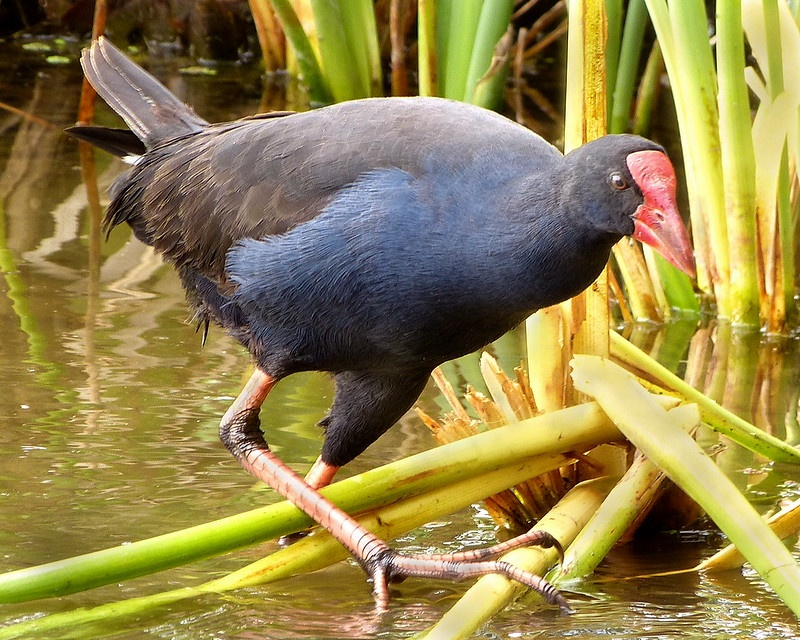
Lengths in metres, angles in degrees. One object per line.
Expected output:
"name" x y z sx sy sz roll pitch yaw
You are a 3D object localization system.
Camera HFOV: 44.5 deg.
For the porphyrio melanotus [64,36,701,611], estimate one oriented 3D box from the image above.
"porphyrio melanotus" 0.102 -0.194 3.031 1.389 1.668 1.638 0 8 -31
